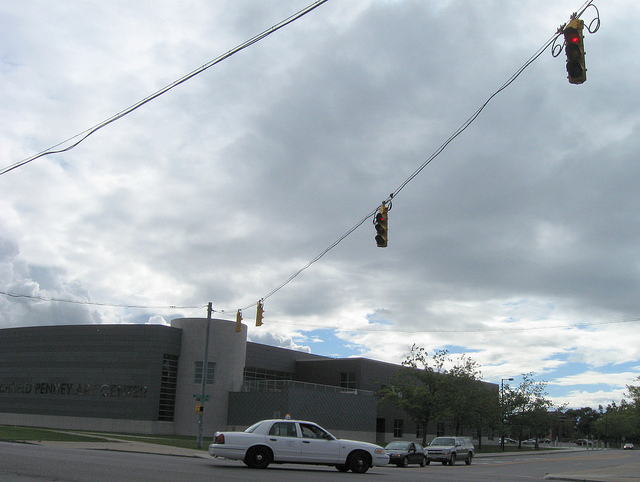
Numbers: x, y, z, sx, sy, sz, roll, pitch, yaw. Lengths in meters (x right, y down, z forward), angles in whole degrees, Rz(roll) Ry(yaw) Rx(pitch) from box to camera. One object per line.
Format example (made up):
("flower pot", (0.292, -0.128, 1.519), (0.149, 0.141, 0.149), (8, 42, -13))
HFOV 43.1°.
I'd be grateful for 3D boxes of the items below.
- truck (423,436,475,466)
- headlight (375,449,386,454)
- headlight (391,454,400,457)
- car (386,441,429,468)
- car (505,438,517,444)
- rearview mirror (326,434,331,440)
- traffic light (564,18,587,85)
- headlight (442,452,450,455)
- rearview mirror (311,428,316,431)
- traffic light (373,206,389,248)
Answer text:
("truck", (9.664, 15.645, 59.538), (2.106, 1.419, 3.704), (-14, -29, 32))
("headlight", (3.127, 10.990, 42.043), (0.208, 0.250, 0.681), (-10, -21, 33))
("headlight", (5.011, 14.338, 53.807), (0.538, 0.182, 0.147), (1, -19, 4))
("car", (6.091, 14.510, 55.175), (1.492, 0.934, 2.958), (-13, -25, 38))
("car", (31.373, 33.016, 133.044), (1.214, 0.688, 2.288), (-3, -13, 26))
("rearview mirror", (0.435, 10.120, 41.640), (0.265, 0.250, 0.283), (5, -6, -42))
("traffic light", (10.699, -7.983, 34.007), (0.770, 2.768, 0.841), (-2, -20, 16))
("headlight", (9.013, 15.271, 57.894), (0.483, 0.147, 0.113), (5, -19, -9))
("rearview mirror", (-0.300, 9.731, 41.586), (0.188, 0.140, 0.067), (13, -21, -28))
("traffic light", (2.960, -0.698, 38.830), (0.546, 2.196, 0.552), (-4, -21, 19))
